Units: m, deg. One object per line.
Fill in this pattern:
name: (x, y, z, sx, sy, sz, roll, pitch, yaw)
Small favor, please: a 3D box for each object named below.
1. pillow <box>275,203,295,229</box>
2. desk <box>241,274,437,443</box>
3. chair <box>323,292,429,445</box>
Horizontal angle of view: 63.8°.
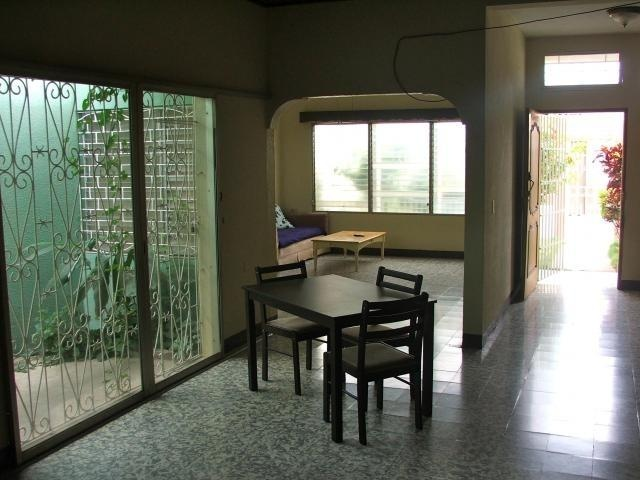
pillow: (-0.812, -0.461, 10.835, 0.142, 0.482, 0.490, -21, 1, 13)
desk: (0.029, 0.908, 4.188, 0.745, 0.715, 1.081, -6, -23, 38)
chair: (0.437, 0.892, 3.972, 0.753, 1.064, 0.758, 3, 10, 19)
